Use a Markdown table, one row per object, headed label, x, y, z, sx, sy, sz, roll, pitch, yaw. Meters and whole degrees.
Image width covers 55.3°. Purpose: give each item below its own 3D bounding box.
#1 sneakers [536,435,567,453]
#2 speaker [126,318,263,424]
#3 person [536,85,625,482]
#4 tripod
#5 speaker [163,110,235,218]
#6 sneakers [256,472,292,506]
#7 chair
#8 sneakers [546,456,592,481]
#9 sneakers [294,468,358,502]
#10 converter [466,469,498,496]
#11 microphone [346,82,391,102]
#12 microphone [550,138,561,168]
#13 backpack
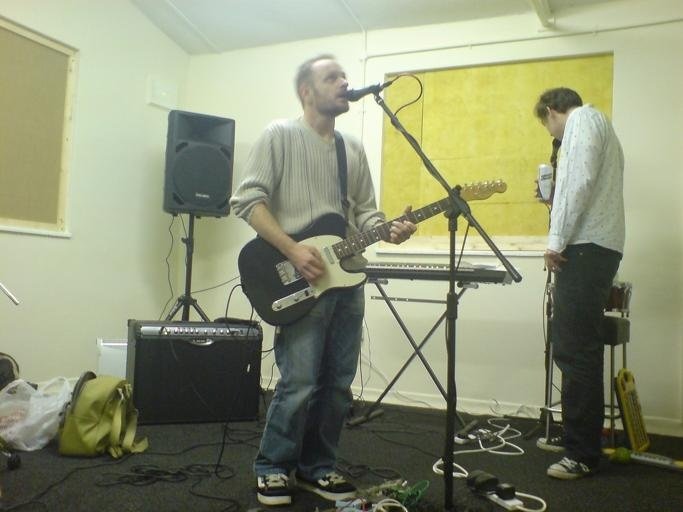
| label | x | y | z | sx | sy | sz | roll | pitch | yaw |
| --- | --- | --- | --- | --- | --- | --- | --- | --- | --- |
| sneakers | 1.334 | 1.193 | 4.153 | 0.183 | 0.078 | 0.069 | 5 | 1 | 12 |
| speaker | -1.036 | 0.638 | 4.636 | 0.946 | 0.906 | 0.665 | 1 | -1 | -13 |
| person | 1.437 | 0.181 | 3.826 | 0.481 | 2.172 | 0.313 | 0 | 2 | 2 |
| tripod | -1.231 | 0.121 | 5.267 | 0.335 | 0.913 | 1.308 | 0 | 2 | -15 |
| speaker | -1.146 | -0.699 | 5.319 | 0.558 | 0.919 | 0.308 | 5 | -22 | -20 |
| sneakers | -0.355 | 1.197 | 3.414 | 0.189 | 0.156 | 0.180 | 0 | 2 | -5 |
| chair | 1.597 | 0.684 | 4.293 | 0.556 | 1.131 | 0.494 | -4 | -8 | 36 |
| sneakers | 1.296 | 1.226 | 3.781 | 0.272 | 0.115 | 0.104 | 3 | -7 | 2 |
| sneakers | -0.075 | 1.201 | 3.439 | 0.300 | 0.130 | 0.121 | -2 | -8 | 24 |
| converter | 0.743 | 1.200 | 3.460 | 0.119 | 0.080 | 0.121 | 5 | -18 | -24 |
| microphone | 0.141 | -0.877 | 3.466 | 0.237 | 0.119 | 0.216 | 0 | 2 | -2 |
| microphone | 1.503 | -0.731 | 4.580 | 0.030 | 0.234 | 0.104 | 4 | 17 | 16 |
| backpack | -1.461 | 0.945 | 4.015 | 0.523 | 0.501 | 0.361 | 11 | 2 | -38 |
